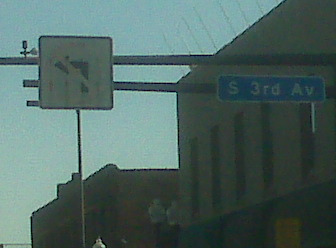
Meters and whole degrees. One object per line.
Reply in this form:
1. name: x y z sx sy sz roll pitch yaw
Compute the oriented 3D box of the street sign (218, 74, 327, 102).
1. street sign: 2.015 -0.677 22.500 2.101 0.646 0.047 -4 -8 -4
